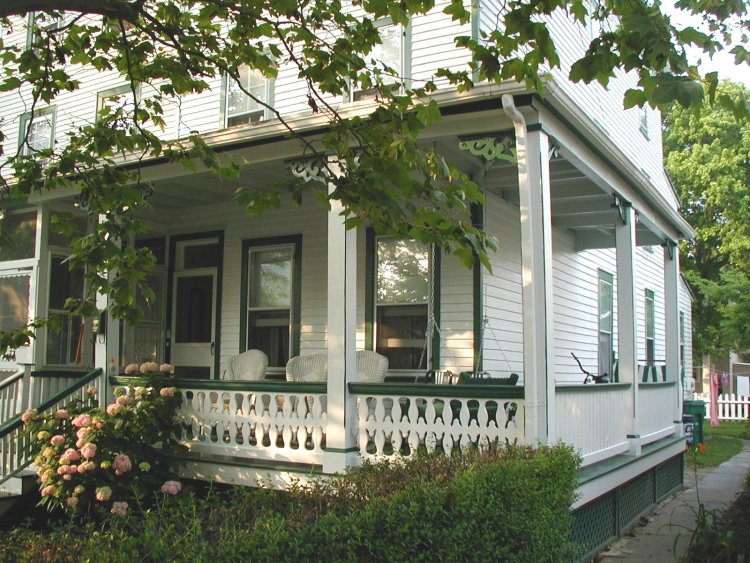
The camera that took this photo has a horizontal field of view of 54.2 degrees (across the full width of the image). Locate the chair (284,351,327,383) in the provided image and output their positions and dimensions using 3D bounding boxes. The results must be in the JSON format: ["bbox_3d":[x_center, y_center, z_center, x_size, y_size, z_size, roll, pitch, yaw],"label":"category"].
[{"bbox_3d":[-1.045,1.318,11.184,0.411,0.548,0.496,0,-16,11],"label":"chair"}]

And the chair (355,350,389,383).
[{"bbox_3d":[-0.080,1.213,10.411,0.357,0.497,0.445,2,-32,22],"label":"chair"}]

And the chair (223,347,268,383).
[{"bbox_3d":[-2.082,1.339,11.528,0.498,0.744,0.614,10,-5,16],"label":"chair"}]

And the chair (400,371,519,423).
[{"bbox_3d":[1.105,1.287,9.241,1.030,1.004,0.828,-2,-8,30],"label":"chair"}]
